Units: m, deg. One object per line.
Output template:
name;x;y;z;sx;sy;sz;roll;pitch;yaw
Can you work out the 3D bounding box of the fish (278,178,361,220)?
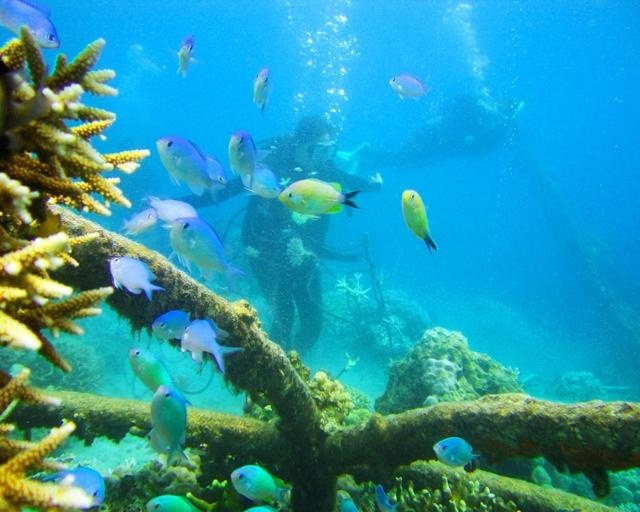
fish;-0.097;-1.602;16.122;1.898;0.677;0.671;-2;-37;15
